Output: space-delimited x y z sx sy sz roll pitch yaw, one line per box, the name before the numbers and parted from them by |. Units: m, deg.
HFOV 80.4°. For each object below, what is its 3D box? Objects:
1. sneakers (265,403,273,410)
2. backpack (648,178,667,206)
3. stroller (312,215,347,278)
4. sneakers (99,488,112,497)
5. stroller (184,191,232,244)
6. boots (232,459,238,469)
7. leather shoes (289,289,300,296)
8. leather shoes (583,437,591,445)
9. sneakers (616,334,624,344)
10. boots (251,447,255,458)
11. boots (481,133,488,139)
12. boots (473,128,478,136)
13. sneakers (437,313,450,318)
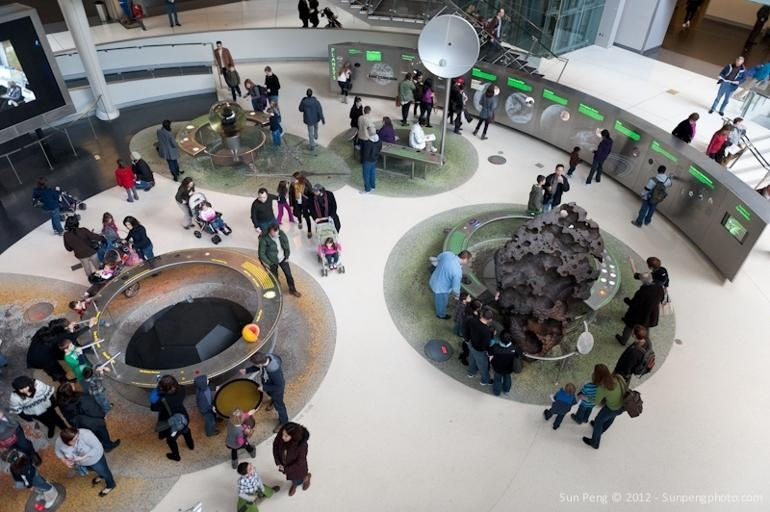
sneakers | -2.465 3.221 9.756 0.167 0.119 0.142 -10 48 -9
backpack | 7.556 -1.802 12.646 0.454 0.584 0.609 2 66 16
stroller | -1.502 -0.353 12.222 0.720 0.973 1.507 -5 42 -19
sneakers | -5.397 4.564 8.796 0.106 0.049 0.216 33 43 23
stroller | -4.941 -0.988 12.920 1.155 1.031 0.754 4 10 15
boots | -2.977 4.152 9.062 0.081 0.072 0.186 -5 46 -4
leather shoes | -2.270 0.932 11.589 0.347 0.208 0.118 9 58 2
leather shoes | 4.183 3.813 9.405 0.093 0.144 0.150 -39 43 -14
sneakers | 5.589 1.972 10.788 0.080 0.161 0.236 -24 60 0
boots | -2.636 3.961 9.149 0.116 0.062 0.182 -7 90 -3
boots | 3.618 -4.387 16.521 0.254 0.235 0.130 -22 57 -12
boots | 3.352 -4.591 16.727 0.115 0.122 0.294 13 46 15
sneakers | 1.466 1.483 11.253 0.333 0.136 0.111 -1 51 -1
